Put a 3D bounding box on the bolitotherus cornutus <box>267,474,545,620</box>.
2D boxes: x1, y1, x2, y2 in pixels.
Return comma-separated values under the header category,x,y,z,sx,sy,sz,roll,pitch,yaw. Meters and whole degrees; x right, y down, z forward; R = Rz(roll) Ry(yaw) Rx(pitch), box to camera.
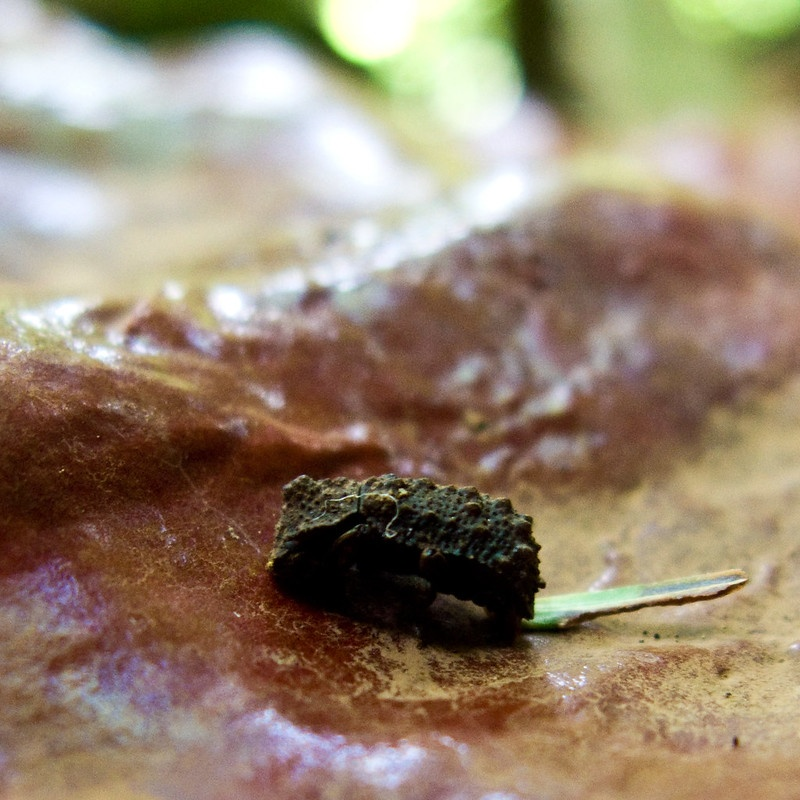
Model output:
category,x,y,z,sx,sy,sz,roll,pitch,yaw
bolitotherus cornutus,0.022,0.264,2.093,0.541,0.197,0.291,10,6,13
